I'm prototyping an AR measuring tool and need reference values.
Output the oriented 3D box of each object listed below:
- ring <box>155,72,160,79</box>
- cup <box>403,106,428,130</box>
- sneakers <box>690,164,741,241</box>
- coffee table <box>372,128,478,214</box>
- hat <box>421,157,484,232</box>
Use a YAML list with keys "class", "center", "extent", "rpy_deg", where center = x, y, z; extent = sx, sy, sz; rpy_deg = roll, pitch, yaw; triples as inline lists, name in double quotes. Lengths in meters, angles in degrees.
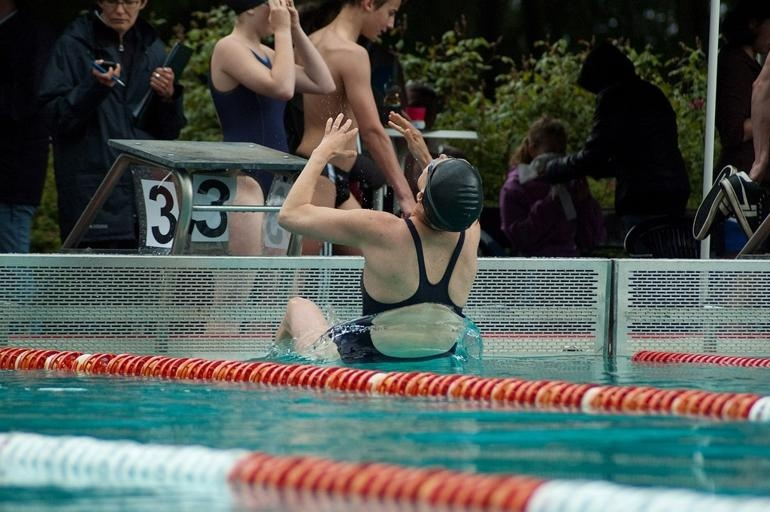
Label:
- class: "ring"
  center: [-1.594, -1.263, 8.707]
  extent: [0.028, 0.030, 0.010]
  rpy_deg: [-27, -14, -23]
- class: "cup"
  center: [0.256, -1.128, 10.197]
  extent: [0.179, 0.206, 0.175]
  rpy_deg: [-1, 6, 0]
- class: "sneakers"
  center: [2.416, -0.359, 9.242]
  extent: [0.216, 0.641, 0.239]
  rpy_deg: [29, 8, -10]
- class: "coffee table"
  center: [0.372, -0.727, 10.389]
  extent: [0.694, 0.734, 0.734]
  rpy_deg: [0, 6, -2]
- class: "hat"
  center: [0.395, -0.346, 7.429]
  extent: [0.315, 0.374, 0.432]
  rpy_deg: [1, -12, -8]
